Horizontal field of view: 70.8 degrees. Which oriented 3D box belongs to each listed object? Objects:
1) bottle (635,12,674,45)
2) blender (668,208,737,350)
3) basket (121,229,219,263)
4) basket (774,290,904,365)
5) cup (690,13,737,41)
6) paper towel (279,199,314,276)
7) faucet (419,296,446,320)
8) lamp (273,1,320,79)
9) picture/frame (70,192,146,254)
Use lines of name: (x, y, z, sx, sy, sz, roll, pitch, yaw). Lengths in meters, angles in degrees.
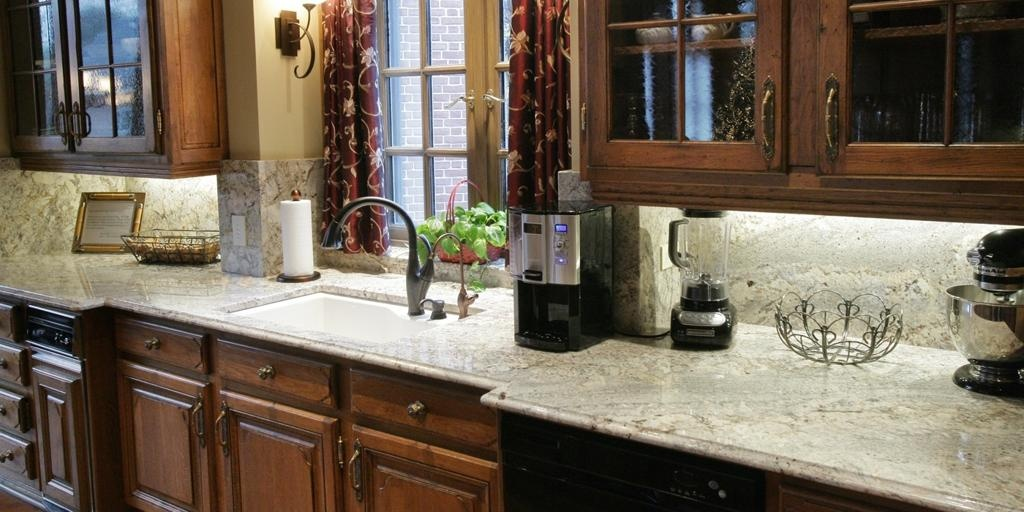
bottle: (0.635, -1.012, 3.198, 0.163, 0.055, 0.147, 0, 12, 9)
blender: (0.902, 0.103, 3.436, 0.296, 0.640, 0.252, -1, 11, 13)
basket: (-2.233, -0.068, 4.784, 0.703, 0.224, 0.333, 0, 10, 14)
basket: (1.530, 0.325, 3.381, 0.461, 0.174, 0.428, 2, 10, 23)
cup: (0.864, -0.985, 3.125, 0.120, 0.060, 0.141, -9, 9, -19)
paper towel: (-1.308, -0.114, 4.368, 0.212, 0.456, 0.220, -7, 11, -16)
faucet: (-0.415, 0.298, 3.984, 0.161, 0.098, 0.094, 3, -2, -43)
lamp: (-1.287, -1.326, 4.411, 0.300, 0.470, 0.147, -10, 12, -31)
picture/frame: (-2.741, -0.219, 4.933, 0.528, 0.429, 0.034, -1, -15, 6)
